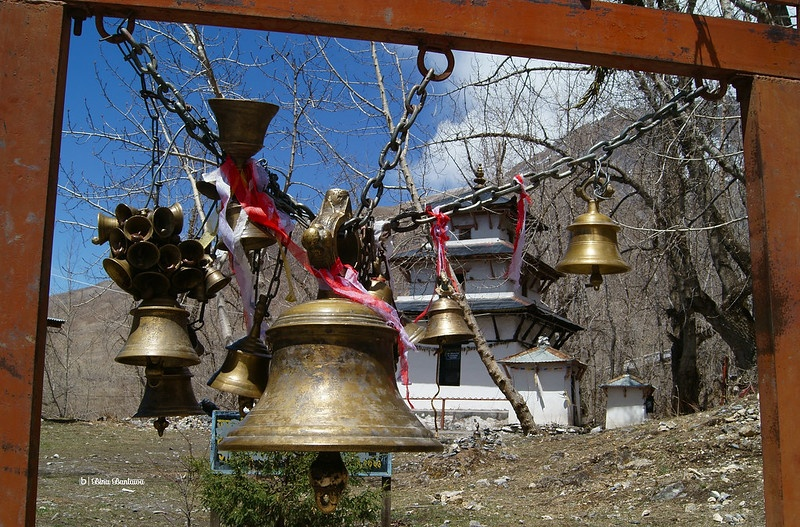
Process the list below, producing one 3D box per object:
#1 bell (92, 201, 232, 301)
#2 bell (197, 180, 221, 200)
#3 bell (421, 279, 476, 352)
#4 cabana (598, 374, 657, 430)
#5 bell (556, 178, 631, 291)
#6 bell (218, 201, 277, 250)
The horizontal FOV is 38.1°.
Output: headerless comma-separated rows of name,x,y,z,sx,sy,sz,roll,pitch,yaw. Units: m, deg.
bell,-2.545,-0.122,12.555,1.220,0.887,1.342,4,-53,-8
bell,-2.175,-0.816,13.002,0.251,0.301,0.484,-1,-11,-11
bell,0.532,0.607,13.744,0.649,0.685,0.642,0,-20,-15
cabana,6.225,3.894,32.113,1.530,1.573,1.444,3,-10,2
bell,2.165,-0.298,13.043,0.781,1.204,0.925,-5,-10,11
bell,-1.647,-0.375,12.824,0.509,0.520,0.479,-19,-19,22
